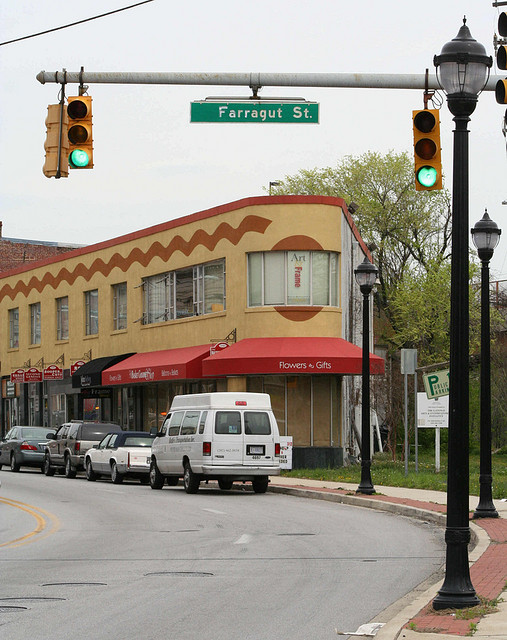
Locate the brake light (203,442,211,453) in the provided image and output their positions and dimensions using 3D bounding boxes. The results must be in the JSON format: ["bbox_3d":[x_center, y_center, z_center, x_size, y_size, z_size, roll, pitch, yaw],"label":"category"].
[{"bbox_3d":[-0.993,2.665,23.938,0.143,0.204,0.315,0,-7,2],"label":"brake light"}]

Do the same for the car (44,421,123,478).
[{"bbox_3d":[-5.061,3.598,32.710,1.184,1.440,2.395,1,-1,-23],"label":"car"}]

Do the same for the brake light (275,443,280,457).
[{"bbox_3d":[0.496,2.797,24.659,0.081,0.294,0.201,-3,-8,13],"label":"brake light"}]

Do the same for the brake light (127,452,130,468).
[{"bbox_3d":[-3.128,3.459,28.299,0.037,0.365,0.109,1,-7,-24],"label":"brake light"}]

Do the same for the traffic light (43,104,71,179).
[{"bbox_3d":[-2.292,-2.072,13.181,0.315,0.950,0.361,0,-7,-13],"label":"traffic light"}]

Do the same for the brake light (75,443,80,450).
[{"bbox_3d":[-4.916,3.488,31.592,0.115,0.168,0.259,1,-9,0],"label":"brake light"}]

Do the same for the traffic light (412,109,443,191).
[{"bbox_3d":[1.816,-1.765,11.875,0.206,0.952,0.216,-2,-18,6],"label":"traffic light"}]

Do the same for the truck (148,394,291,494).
[{"bbox_3d":[-0.966,2.699,25.464,1.570,1.862,2.867,2,-4,-24],"label":"truck"}]

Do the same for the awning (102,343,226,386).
[{"bbox_3d":[-2.919,1.275,37.708,4.169,1.570,2.175,-12,-9,43],"label":"awning"}]

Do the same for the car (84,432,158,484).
[{"bbox_3d":[-3.367,3.471,29.384,1.013,1.130,2.292,2,-2,-23],"label":"car"}]

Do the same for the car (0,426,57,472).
[{"bbox_3d":[-7.283,4.035,36.088,0.917,1.087,2.662,0,-3,-18],"label":"car"}]

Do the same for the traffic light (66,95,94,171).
[{"bbox_3d":[-1.997,-2.156,13.168,0.210,0.864,0.226,-2,0,8],"label":"traffic light"}]
